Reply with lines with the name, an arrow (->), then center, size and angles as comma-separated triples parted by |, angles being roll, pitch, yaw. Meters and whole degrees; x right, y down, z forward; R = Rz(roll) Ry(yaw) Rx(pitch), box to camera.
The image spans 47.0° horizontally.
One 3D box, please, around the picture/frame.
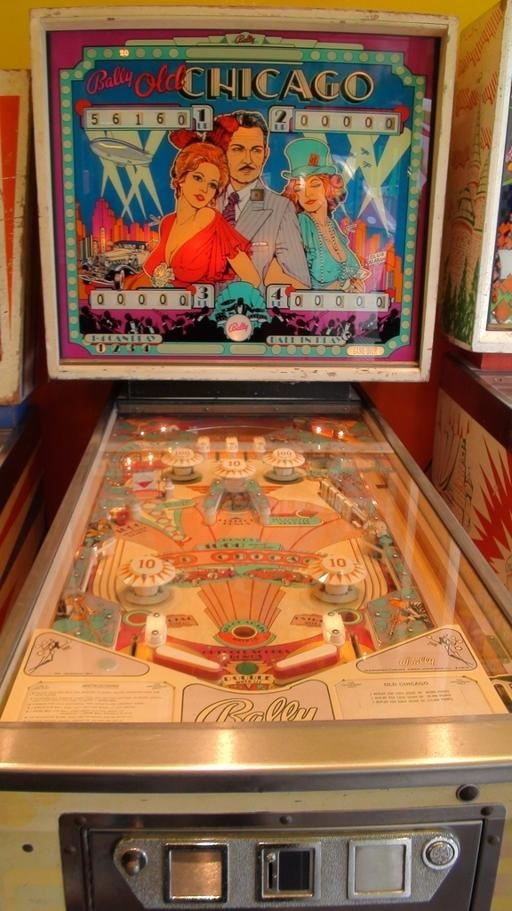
picture/frame -> -0.055, -0.683, 1.491 | 0.780, 0.335, 0.778 | 1, -62, -1
